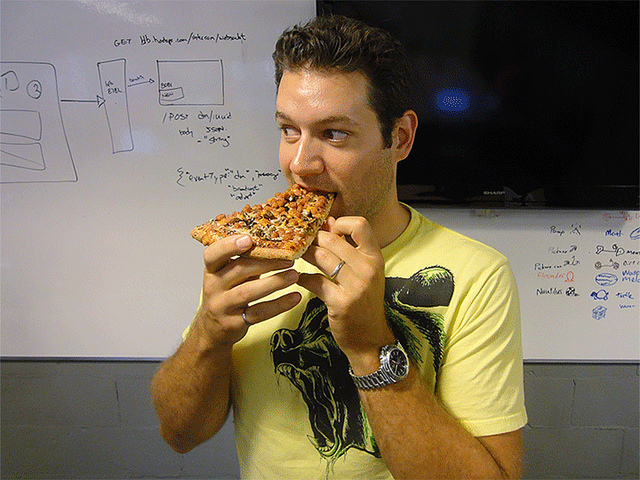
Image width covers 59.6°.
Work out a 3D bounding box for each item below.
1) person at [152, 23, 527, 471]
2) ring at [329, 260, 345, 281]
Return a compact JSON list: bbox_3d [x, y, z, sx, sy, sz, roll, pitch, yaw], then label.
[{"bbox_3d":[0.142,0.071,2.522,1.569,2.062,0.737,5,13,22],"label":"person"},{"bbox_3d":[0.072,0.125,2.339,0.015,0.066,0.067,38,20,-2],"label":"ring"}]
